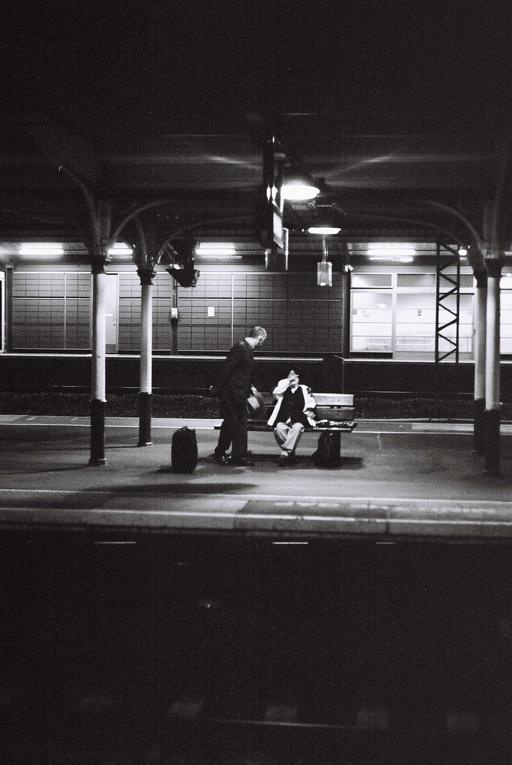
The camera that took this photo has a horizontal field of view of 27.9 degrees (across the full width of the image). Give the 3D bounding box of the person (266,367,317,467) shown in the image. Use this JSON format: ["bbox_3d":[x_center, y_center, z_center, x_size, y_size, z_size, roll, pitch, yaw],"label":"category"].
[{"bbox_3d":[0.444,0.435,13.029,0.606,1.128,0.496,1,7,1],"label":"person"}]

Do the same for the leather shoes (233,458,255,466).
[{"bbox_3d":[-0.154,1.033,13.260,0.290,0.180,0.116,-2,3,9],"label":"leather shoes"}]
